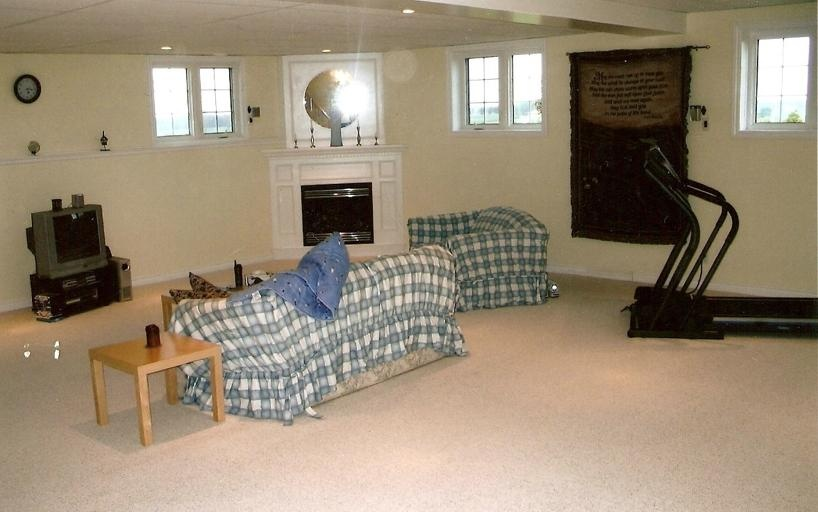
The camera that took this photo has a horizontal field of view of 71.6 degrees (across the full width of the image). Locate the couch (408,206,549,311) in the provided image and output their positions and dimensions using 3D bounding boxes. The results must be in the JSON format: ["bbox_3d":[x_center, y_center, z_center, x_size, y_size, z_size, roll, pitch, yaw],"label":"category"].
[{"bbox_3d":[0.973,-0.043,7.916,1.523,1.084,1.797,-5,14,-22],"label":"couch"}]

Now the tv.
[{"bbox_3d":[-4.617,-0.187,7.589,0.577,0.743,0.809,15,19,17],"label":"tv"}]

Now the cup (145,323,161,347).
[{"bbox_3d":[-2.190,0.660,4.818,0.121,0.187,0.188,-9,16,-25],"label":"cup"}]

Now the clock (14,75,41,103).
[{"bbox_3d":[-5.184,-2.260,7.685,0.332,0.366,0.107,-12,18,-35],"label":"clock"}]
